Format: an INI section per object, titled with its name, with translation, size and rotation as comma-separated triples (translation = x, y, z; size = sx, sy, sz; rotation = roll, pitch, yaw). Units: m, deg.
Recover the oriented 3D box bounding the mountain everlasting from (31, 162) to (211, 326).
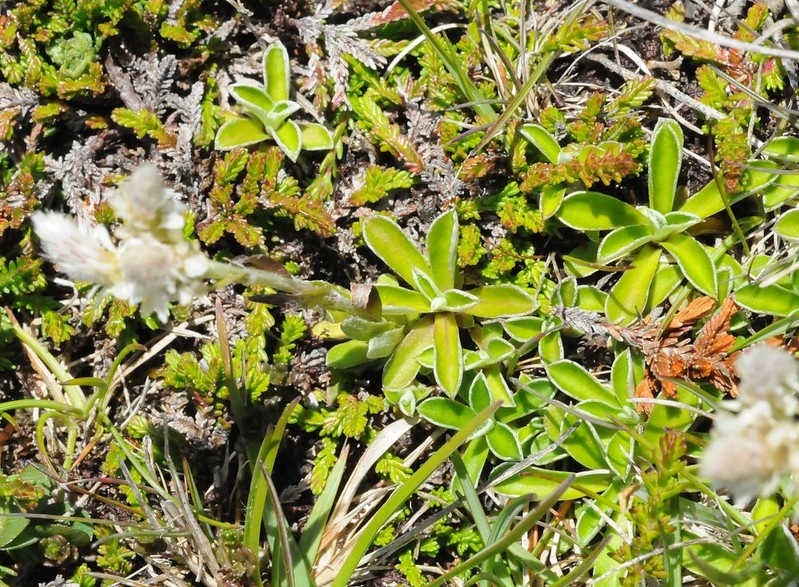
[mountain everlasting]
translation = -0.832, -0.159, 2.719
size = 0.476, 0.205, 0.506
rotation = -31, 84, 4
